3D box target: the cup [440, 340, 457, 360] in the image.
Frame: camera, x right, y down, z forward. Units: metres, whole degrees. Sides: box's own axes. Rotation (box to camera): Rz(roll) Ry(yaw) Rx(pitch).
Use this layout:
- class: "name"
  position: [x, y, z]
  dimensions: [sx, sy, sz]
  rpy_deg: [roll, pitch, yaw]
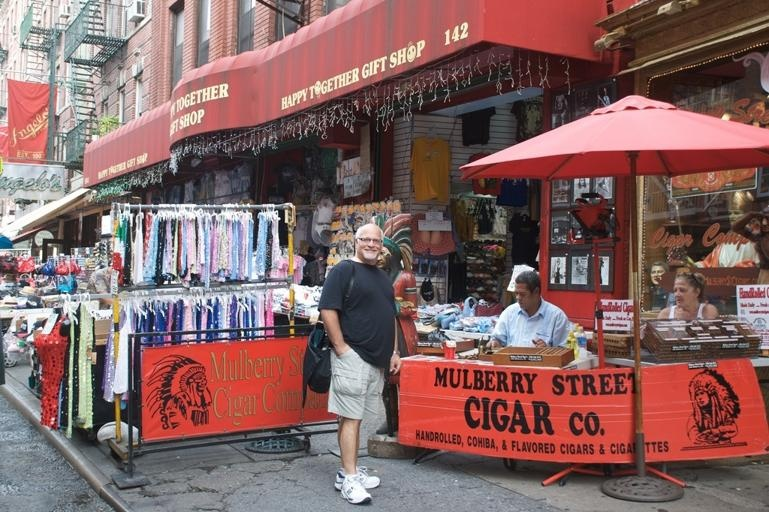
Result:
- class: "cup"
  position: [0.776, 1.160, 9.517]
  dimensions: [0.175, 0.195, 0.196]
  rpy_deg: [0, -5, -11]

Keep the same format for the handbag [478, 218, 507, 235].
- class: "handbag"
  position: [2.240, -0.566, 15.521]
  dimensions: [0.354, 0.230, 0.354]
  rpy_deg: [0, 0, -18]

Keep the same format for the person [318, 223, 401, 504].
- class: "person"
  position: [-0.240, 1.163, 8.715]
  dimensions: [0.823, 2.973, 0.617]
  rpy_deg: [-5, 7, -36]

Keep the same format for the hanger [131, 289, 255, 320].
- class: "hanger"
  position: [-2.574, 0.674, 10.620]
  dimensions: [1.716, 0.368, 0.102]
  rpy_deg: [-4, 6, -26]

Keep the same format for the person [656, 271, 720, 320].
- class: "person"
  position: [3.868, 0.576, 9.842]
  dimensions: [0.472, 0.782, 0.741]
  rpy_deg: [10, -9, -43]

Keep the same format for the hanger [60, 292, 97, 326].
- class: "hanger"
  position: [-4.218, 0.836, 10.576]
  dimensions: [0.576, 0.602, 0.213]
  rpy_deg: [4, 12, -4]
